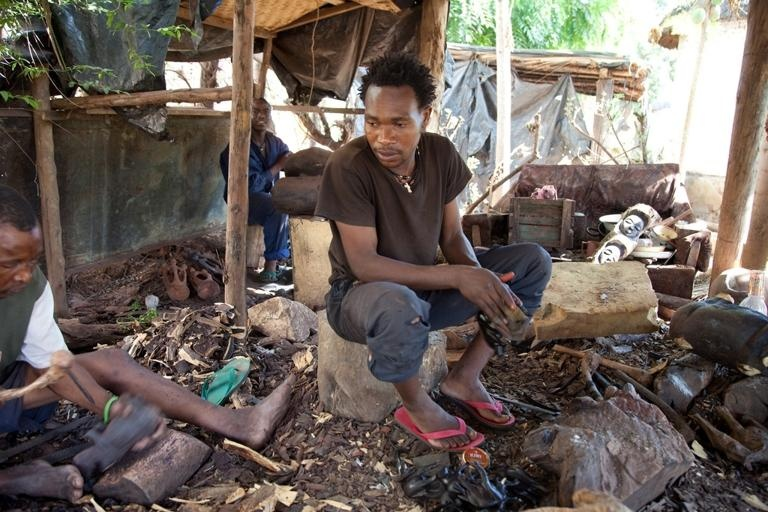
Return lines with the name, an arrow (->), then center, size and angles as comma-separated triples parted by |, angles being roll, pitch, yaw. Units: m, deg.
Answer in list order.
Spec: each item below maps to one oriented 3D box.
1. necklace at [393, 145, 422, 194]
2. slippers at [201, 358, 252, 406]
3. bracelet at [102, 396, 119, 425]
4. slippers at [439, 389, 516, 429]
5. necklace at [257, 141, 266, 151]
necklace -> 0.141, -0.555, 3.267 | 0.188, 0.261, 0.100 | -6, 4, -28
slippers -> -1.167, 0.925, 3.853 | 0.165, 0.163, 0.452 | 30, 25, -2
bracelet -> -1.536, 0.862, 2.858 | 0.049, 0.137, 0.113 | 18, -9, 0
slippers -> 0.637, 1.020, 3.370 | 0.375, 0.098, 0.215 | 20, 14, 24
necklace -> -1.623, -1.461, 6.768 | 0.090, 0.068, 0.090 | -3, 24, -8
